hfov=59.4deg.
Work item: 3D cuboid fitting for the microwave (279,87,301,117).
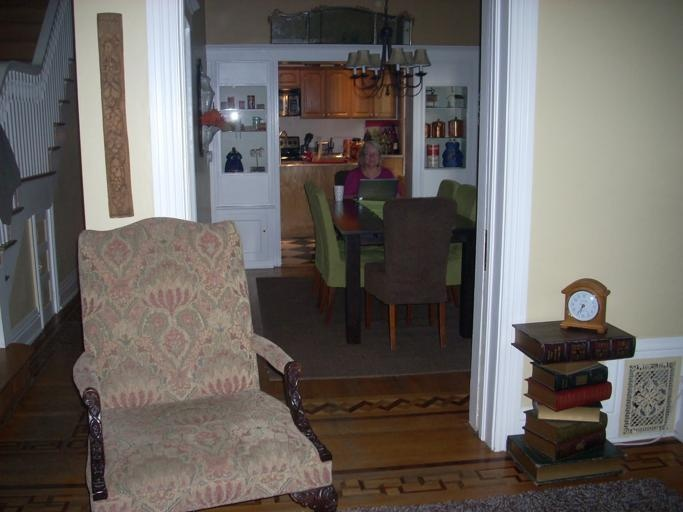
[{"bbox_3d":[-0.772,-2.277,9.025,0.435,0.471,0.318,-1,7,-5],"label":"microwave"}]

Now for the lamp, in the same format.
[{"bbox_3d":[0.564,-2.290,6.584,0.753,1.032,3.243,0,12,8],"label":"lamp"}]

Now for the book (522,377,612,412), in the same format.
[{"bbox_3d":[1.213,0.705,3.236,0.375,0.085,0.424,-7,7,9],"label":"book"}]

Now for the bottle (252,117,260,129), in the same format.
[{"bbox_3d":[-0.938,-1.468,6.544,0.095,0.136,0.018,0,11,7],"label":"bottle"}]

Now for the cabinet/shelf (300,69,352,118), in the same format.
[{"bbox_3d":[-0.237,-2.459,9.021,0.754,0.715,0.313,0,17,1],"label":"cabinet/shelf"}]

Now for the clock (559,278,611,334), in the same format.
[{"bbox_3d":[1.259,0.258,3.129,0.225,0.290,0.154,5,10,37],"label":"clock"}]

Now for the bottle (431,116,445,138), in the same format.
[{"bbox_3d":[1.099,-1.502,6.916,0.166,0.261,0.180,0,0,0],"label":"bottle"}]

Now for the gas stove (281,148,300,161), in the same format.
[{"bbox_3d":[-0.775,-1.518,8.886,0.297,0.220,0.175,1,21,-3],"label":"gas stove"}]

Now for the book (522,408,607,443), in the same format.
[{"bbox_3d":[1.157,0.890,3.126,0.208,0.055,0.217,-4,10,-14],"label":"book"}]

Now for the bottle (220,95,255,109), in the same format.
[{"bbox_3d":[-1.128,-1.675,6.502,0.369,0.142,0.023,-3,11,-5],"label":"bottle"}]

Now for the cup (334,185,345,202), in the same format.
[{"bbox_3d":[-0.031,-0.616,5.835,0.128,0.161,0.134,1,17,0],"label":"cup"}]

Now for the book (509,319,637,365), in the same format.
[{"bbox_3d":[1.221,0.450,3.197,0.493,0.117,0.390,-3,8,-6],"label":"book"}]
